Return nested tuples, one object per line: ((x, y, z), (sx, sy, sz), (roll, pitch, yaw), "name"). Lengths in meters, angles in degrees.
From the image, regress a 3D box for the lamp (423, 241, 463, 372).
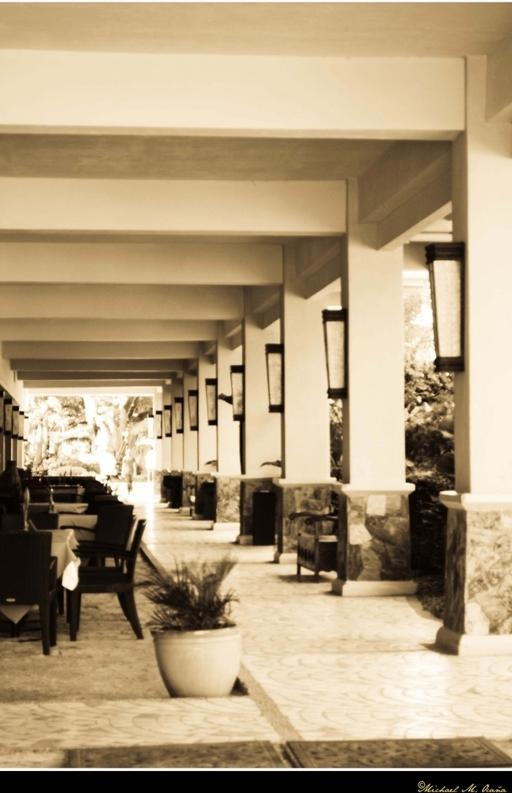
((1.108, -0.518, 5.308), (0.212, 0.749, 0.194), (0, -5, 8), "lamp")

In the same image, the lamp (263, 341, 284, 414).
((0.209, -0.203, 10.270), (0.188, 0.783, 0.290), (0, -5, 0), "lamp")

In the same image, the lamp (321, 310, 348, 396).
((0.664, -0.353, 7.715), (0.190, 0.754, 0.344), (0, -5, 4), "lamp")

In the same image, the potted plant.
((-0.300, 1.041, 4.046), (0.445, 0.635, 0.386), (1, -5, -9), "potted plant")
